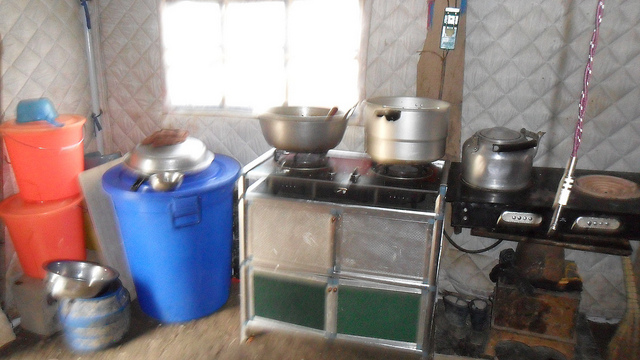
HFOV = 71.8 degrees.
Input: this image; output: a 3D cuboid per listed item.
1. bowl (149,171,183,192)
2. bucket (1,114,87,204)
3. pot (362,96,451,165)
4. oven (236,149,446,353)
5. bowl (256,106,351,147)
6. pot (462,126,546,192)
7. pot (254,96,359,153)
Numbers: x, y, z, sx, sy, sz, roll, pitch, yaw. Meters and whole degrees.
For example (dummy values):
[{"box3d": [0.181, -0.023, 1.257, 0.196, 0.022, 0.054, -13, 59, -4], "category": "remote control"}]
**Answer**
[{"box3d": [-1.048, 0.000, 3.002, 0.169, 0.054, 0.147, -7, 34, -13], "category": "bowl"}, {"box3d": [-2.054, -0.204, 3.681, 0.744, 0.591, 0.658, 2, 15, -2], "category": "bucket"}, {"box3d": [0.642, -0.365, 3.207, 0.629, 0.388, 0.596, 0, 19, 0], "category": "pot"}, {"box3d": [0.151, 0.454, 2.971, 1.436, 1.251, 0.823, 3, 16, 9], "category": "oven"}, {"box3d": [-0.075, -0.334, 3.308, 0.719, 0.252, 0.681, 5, 6, -1], "category": "bowl"}, {"box3d": [1.293, -0.189, 3.129, 0.531, 0.389, 0.460, 12, 28, 32], "category": "pot"}, {"box3d": [-0.151, -0.387, 3.112, 0.553, 0.228, 0.422, 11, 24, 18], "category": "pot"}]
